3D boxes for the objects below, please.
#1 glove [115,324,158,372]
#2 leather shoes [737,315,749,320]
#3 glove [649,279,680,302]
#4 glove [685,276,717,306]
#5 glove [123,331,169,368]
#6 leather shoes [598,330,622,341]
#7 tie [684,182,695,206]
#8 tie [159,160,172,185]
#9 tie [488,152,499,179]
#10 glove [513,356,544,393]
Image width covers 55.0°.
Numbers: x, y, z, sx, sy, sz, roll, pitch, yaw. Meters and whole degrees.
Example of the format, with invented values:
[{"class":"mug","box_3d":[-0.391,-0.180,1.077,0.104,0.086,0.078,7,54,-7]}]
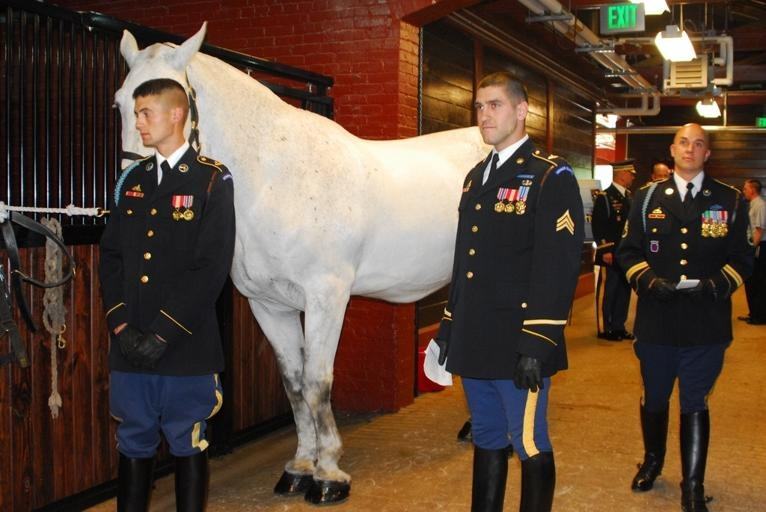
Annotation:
[{"class":"glove","box_3d":[-1.177,0.450,3.601,0.224,0.178,0.101,6,1,10]},{"class":"leather shoes","box_3d":[4.912,0.847,10.004,0.185,0.077,0.062,4,-1,-32]},{"class":"glove","box_3d":[1.639,0.199,4.309,0.144,0.149,0.105,25,-23,18]},{"class":"glove","box_3d":[1.851,0.207,4.275,0.198,0.151,0.110,0,5,13]},{"class":"glove","box_3d":[-1.163,0.442,3.546,0.156,0.206,0.100,6,18,-4]},{"class":"leather shoes","box_3d":[2.661,0.942,8.692,0.260,0.102,0.106,-4,0,41]},{"class":"tie","box_3d":[1.825,-0.367,4.405,0.036,0.165,0.043,3,-28,21]},{"class":"tie","box_3d":[-1.081,-0.414,3.653,0.040,0.101,0.075,7,-7,-31]},{"class":"tie","box_3d":[0.550,-0.453,3.686,0.036,0.154,0.042,2,-19,34]},{"class":"glove","box_3d":[0.692,0.561,3.497,0.121,0.188,0.118,1,5,22]}]
